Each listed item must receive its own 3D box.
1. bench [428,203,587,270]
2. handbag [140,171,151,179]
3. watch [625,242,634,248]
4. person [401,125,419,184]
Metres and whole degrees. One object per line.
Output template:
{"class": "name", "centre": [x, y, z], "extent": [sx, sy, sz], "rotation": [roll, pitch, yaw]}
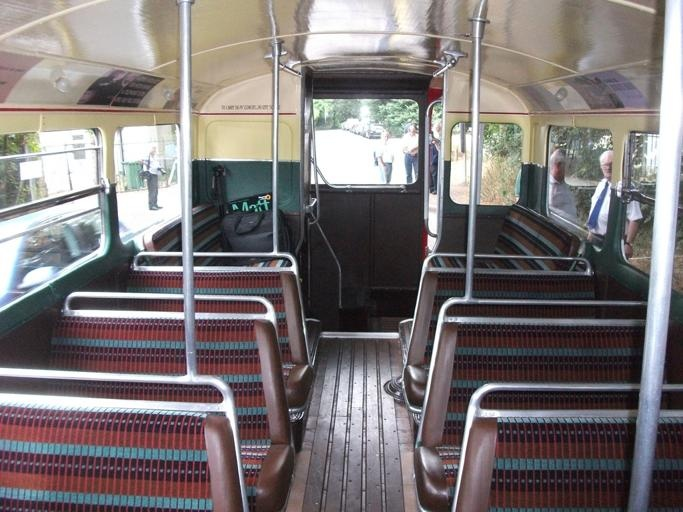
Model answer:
{"class": "bench", "centre": [2.182, -0.217, 6.718], "extent": [0.859, 0.810, 1.776], "rotation": [4, 13, -11]}
{"class": "handbag", "centre": [-2.241, -0.915, 5.727], "extent": [0.116, 0.055, 0.142], "rotation": [2, 1, 3]}
{"class": "watch", "centre": [2.673, -0.098, 4.652], "extent": [0.053, 0.034, 0.041], "rotation": [9, -4, -34]}
{"class": "person", "centre": [1.013, -1.461, 7.304], "extent": [0.225, 0.831, 0.109], "rotation": [1, 13, 4]}
